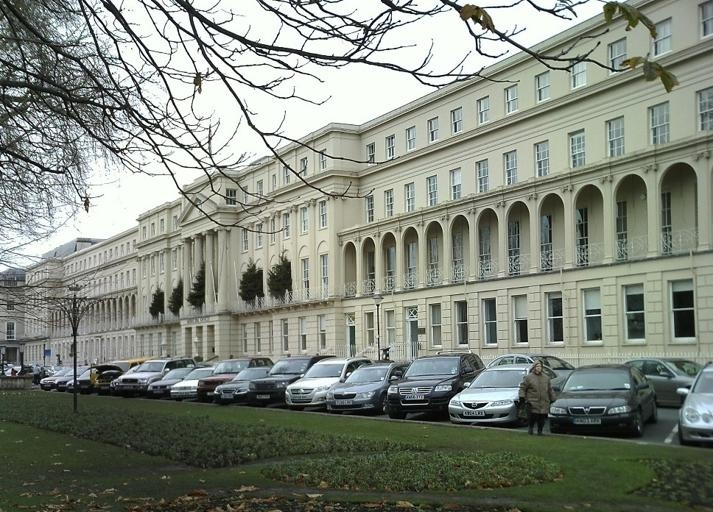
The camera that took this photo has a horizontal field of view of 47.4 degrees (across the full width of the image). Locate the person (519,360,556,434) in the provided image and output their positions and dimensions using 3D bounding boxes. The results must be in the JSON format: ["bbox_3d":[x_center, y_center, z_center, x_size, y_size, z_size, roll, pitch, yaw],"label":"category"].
[{"bbox_3d":[4.825,3.822,21.802,0.896,1.905,0.466,0,-13,11],"label":"person"}]

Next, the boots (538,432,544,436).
[{"bbox_3d":[4.878,4.711,21.554,0.163,0.086,0.389,-1,-14,13],"label":"boots"}]
